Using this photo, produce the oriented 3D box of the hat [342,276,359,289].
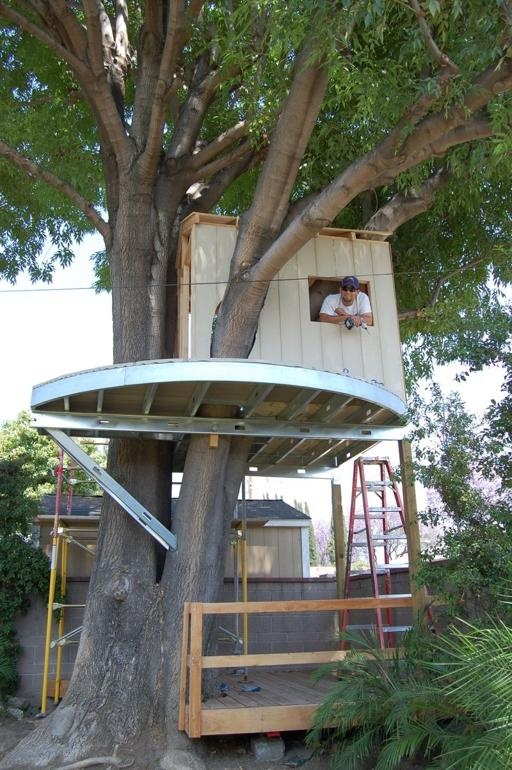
[{"bbox_3d":[1.095,-1.199,7.255,0.191,0.146,0.317,2,-4,8],"label":"hat"}]
